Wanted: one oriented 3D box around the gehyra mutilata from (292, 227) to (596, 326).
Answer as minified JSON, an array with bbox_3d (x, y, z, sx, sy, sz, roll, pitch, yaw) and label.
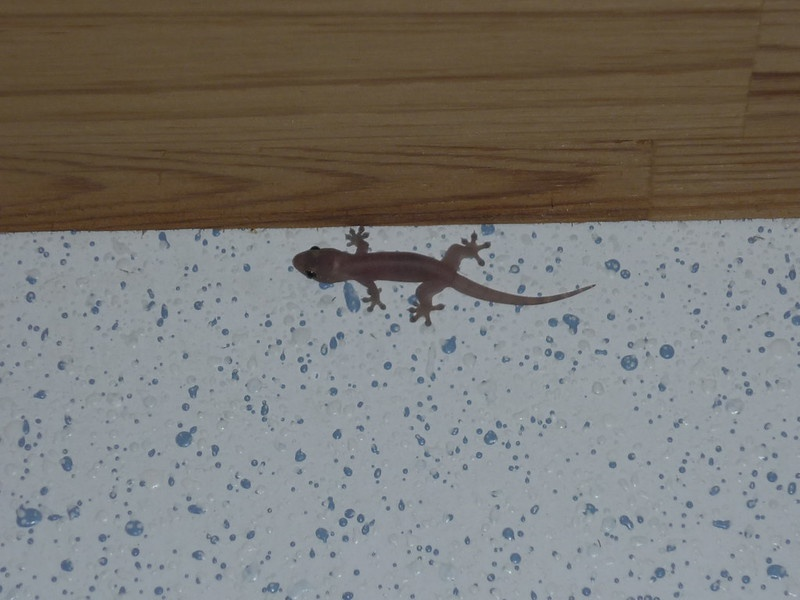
[{"bbox_3d":[0.110,-0.072,3.436,0.914,0.127,0.351,5,85,4],"label":"gehyra mutilata"}]
